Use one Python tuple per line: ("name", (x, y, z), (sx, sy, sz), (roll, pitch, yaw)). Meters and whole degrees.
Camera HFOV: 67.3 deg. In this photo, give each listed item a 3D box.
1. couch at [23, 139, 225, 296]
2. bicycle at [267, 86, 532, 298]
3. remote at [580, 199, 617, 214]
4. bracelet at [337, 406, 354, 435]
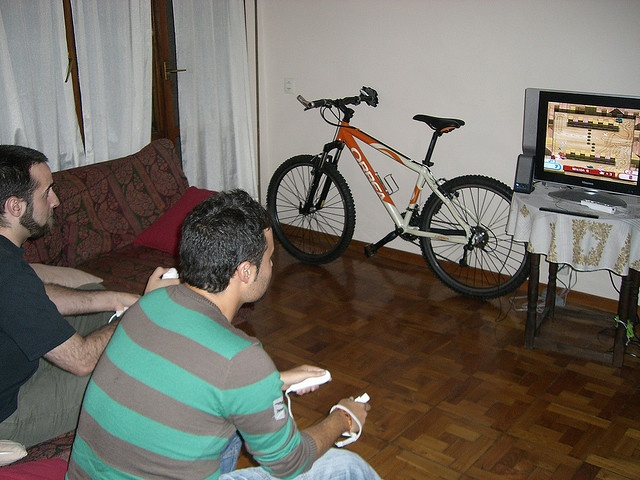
("couch", (-1.286, -0.085, 3.043), (1.139, 0.820, 0.811), (-24, 19, -25))
("bicycle", (0.531, -0.357, 3.817), (2.271, 1.432, 1.081), (10, 21, 25))
("remote", (1.543, -0.189, 2.679), (0.184, 0.032, 0.119), (16, 27, 37))
("bracelet", (0.085, 0.554, 1.500), (0.027, 0.074, 0.054), (-37, -19, 3))
